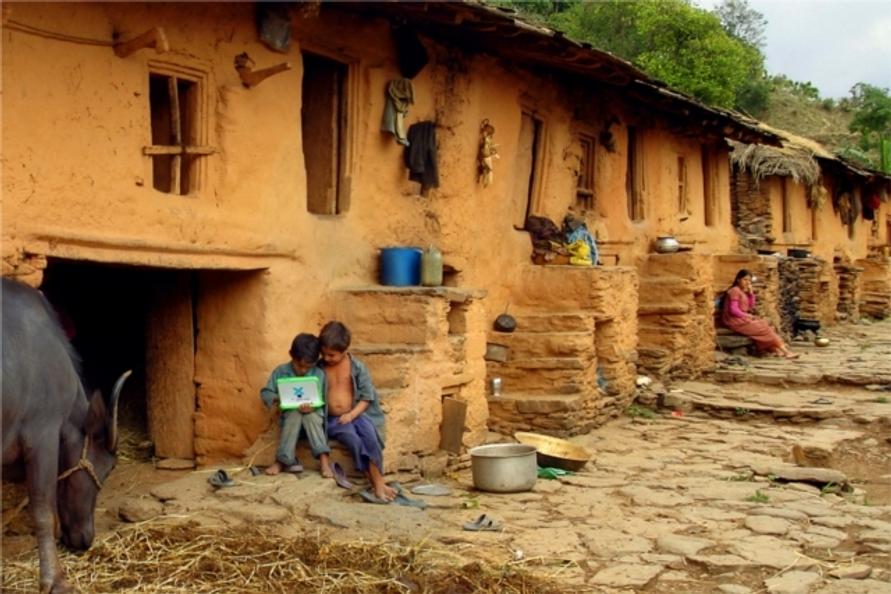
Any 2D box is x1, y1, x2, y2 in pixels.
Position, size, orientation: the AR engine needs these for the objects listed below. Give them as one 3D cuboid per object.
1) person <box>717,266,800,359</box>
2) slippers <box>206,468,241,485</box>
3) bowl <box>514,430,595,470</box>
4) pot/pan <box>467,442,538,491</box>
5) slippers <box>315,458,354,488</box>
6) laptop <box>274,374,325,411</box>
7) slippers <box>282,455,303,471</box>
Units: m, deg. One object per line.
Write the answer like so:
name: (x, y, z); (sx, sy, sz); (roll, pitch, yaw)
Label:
person: (5.214, 0.230, 13.499); (0.870, 1.378, 1.211); (-1, 8, -15)
slippers: (-2.015, 1.615, 7.161); (0.197, 0.065, 0.146); (6, 2, 39)
bowl: (1.122, 1.658, 8.655); (0.698, 0.154, 0.664); (9, 9, -1)
pot/pan: (0.702, 1.649, 7.949); (0.539, 0.262, 0.531); (-11, 10, -42)
slippers: (-1.022, 1.655, 7.409); (0.105, 0.288, 0.176); (-39, 1, 22)
laptop: (-1.353, 0.884, 7.445); (0.423, 0.317, 0.162); (0, 8, -10)
slippers: (-1.429, 1.548, 7.488); (0.168, 0.120, 0.204); (-1, 7, -15)
